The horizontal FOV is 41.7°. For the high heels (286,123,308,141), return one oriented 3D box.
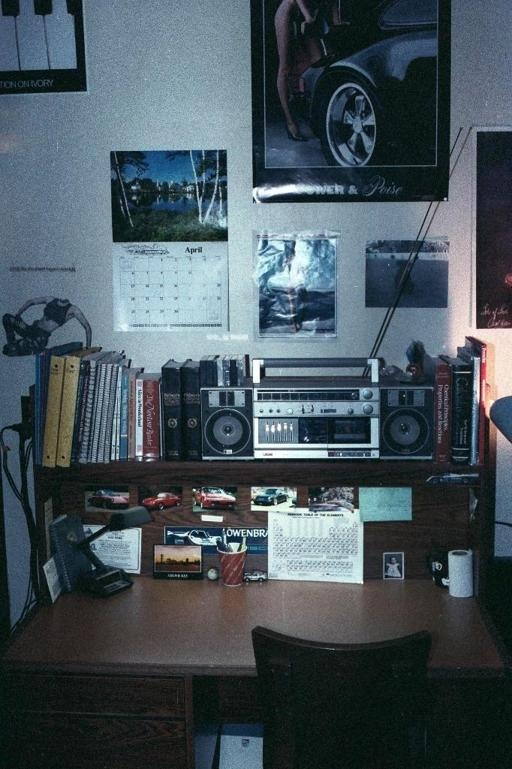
[{"bbox_3d":[0.130,-0.781,2.094,0.083,0.028,0.031,21,-35,-1],"label":"high heels"}]

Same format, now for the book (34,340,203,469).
[{"bbox_3d":[-0.423,0.079,2.002,0.390,0.254,0.336,0,2,-3],"label":"book"}]

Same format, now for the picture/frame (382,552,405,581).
[{"bbox_3d":[0.409,0.538,1.991,0.076,0.099,0.013,0,0,2],"label":"picture/frame"}]

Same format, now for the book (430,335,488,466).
[{"bbox_3d":[0.556,0.058,1.826,0.098,0.317,0.313,1,10,12],"label":"book"}]

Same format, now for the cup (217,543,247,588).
[{"bbox_3d":[-0.066,0.528,1.992,0.091,0.100,0.093,0,6,0],"label":"cup"}]
